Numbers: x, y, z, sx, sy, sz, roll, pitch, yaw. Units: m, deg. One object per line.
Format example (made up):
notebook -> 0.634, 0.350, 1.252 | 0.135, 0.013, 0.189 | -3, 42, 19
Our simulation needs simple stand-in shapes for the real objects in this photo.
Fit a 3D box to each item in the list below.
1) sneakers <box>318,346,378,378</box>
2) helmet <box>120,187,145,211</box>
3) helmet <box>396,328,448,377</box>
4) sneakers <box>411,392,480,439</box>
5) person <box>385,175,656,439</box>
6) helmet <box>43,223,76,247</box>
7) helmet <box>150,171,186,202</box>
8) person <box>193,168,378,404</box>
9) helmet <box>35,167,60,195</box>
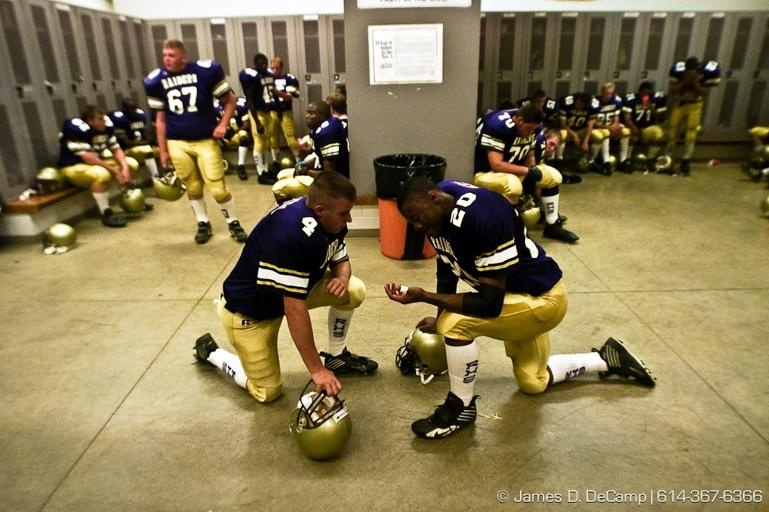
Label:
sneakers -> -0.281, 0.864, 4.200 | 0.550, 0.227, 0.186 | 0, 22, -5
helmet -> -3.559, -0.782, 7.320 | 0.358, 0.350, 0.324 | -8, 30, -19
helmet -> 0.262, 0.755, 4.143 | 0.340, 0.315, 0.413 | -10, 32, -39
sneakers -> 0.456, 1.140, 3.740 | 0.611, 0.242, 0.220 | -12, 25, -16
person -> 0.825, 0.278, 3.789 | 1.685, 1.759, 0.739 | -12, 26, -20
helmet -> -3.952, -0.246, 6.263 | 0.328, 0.244, 0.249 | 31, 16, 32
helmet -> -2.869, -0.915, 6.768 | 0.402, 0.268, 0.408 | -2, 7, -12
person -> -0.680, 0.235, 3.819 | 1.277, 1.740, 0.867 | 13, 29, 31
helmet -> -4.395, -0.985, 6.661 | 0.313, 0.349, 0.373 | -2, 5, 0
